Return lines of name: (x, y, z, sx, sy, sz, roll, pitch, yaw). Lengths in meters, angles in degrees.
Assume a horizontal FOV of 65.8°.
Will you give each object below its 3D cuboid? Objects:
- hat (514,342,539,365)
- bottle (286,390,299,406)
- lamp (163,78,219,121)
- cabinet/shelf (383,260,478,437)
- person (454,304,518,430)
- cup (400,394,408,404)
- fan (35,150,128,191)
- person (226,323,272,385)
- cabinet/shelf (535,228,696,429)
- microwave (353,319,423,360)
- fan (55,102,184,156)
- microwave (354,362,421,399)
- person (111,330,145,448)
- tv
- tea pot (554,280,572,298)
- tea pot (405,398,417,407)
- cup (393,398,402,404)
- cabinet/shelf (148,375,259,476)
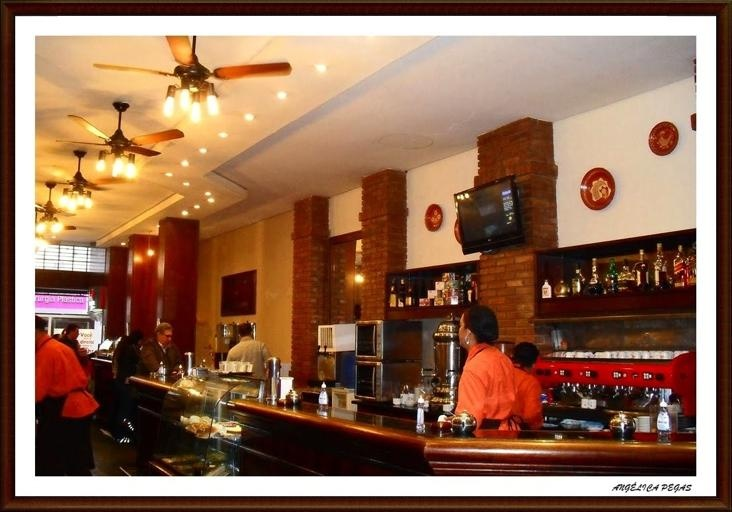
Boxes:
hat: (1.255, 0.775, 4.489, 0.164, 0.188, 0.209, -7, -17, 44)
bottle: (-0.562, 1.126, 4.477, 0.095, 0.091, 0.091, 0, -10, 0)
lamp: (-1.463, -1.323, 4.948, 0.597, 0.307, 0.563, -3, 8, -11)
cabinet/shelf: (0.723, 1.007, 6.322, 0.514, 1.826, 1.702, 7, -13, -21)
person: (0.750, 0.673, 3.519, 0.331, 0.747, 0.303, 1, -12, 11)
cup: (0.472, 1.711, 6.805, 0.110, 0.108, 0.105, 1, -1, 0)
fan: (-3.910, -1.083, 7.928, 1.021, 0.415, 1.045, 0, -1, 17)
person: (-1.778, 1.432, 8.711, 0.480, 0.818, 0.664, 2, -12, 6)
cabinet/shelf: (2.484, 0.738, 5.546, 0.651, 1.736, 1.771, 11, -14, -26)
microwave: (0.370, 1.221, 8.203, 0.656, 0.531, 0.864, 7, -13, -25)
fan: (-2.549, -1.232, 5.952, 0.917, 0.347, 0.926, 8, -15, -35)
microwave: (0.403, 1.733, 7.998, 0.679, 0.386, 0.615, 7, -12, -29)
person: (-3.750, 2.001, 8.908, 0.437, 1.658, 1.390, 8, -12, -22)
tv: (1.535, -0.493, 6.868, 0.144, 0.847, 1.016, -5, -7, -36)
tea pot: (2.164, 0.369, 6.208, 0.169, 0.195, 0.166, 3, -4, 0)
tea pot: (0.544, 1.737, 6.747, 0.098, 0.082, 0.094, 3, -6, 0)
cup: (0.391, 1.781, 6.964, 0.075, 0.050, 0.073, 1, -7, 0)
cabinet/shelf: (-1.201, 1.309, 4.300, 0.701, 0.771, 0.911, 6, -12, -16)
